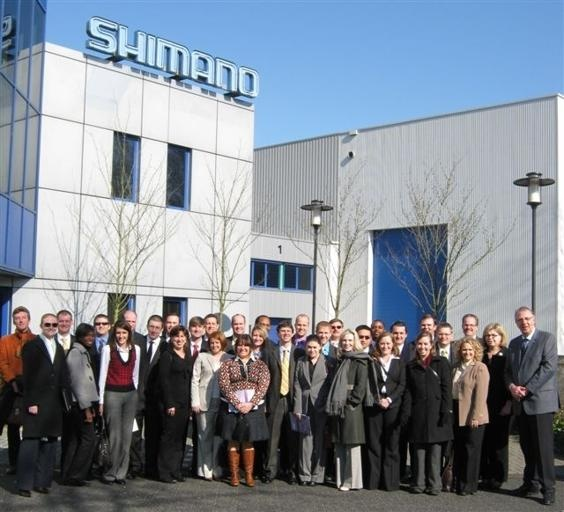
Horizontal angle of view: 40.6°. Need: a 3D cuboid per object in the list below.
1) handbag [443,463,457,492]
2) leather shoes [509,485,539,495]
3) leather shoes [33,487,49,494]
[{"bbox_3d":[2.317,2.945,10.565,0.199,0.586,0.520,1,-6,12],"label":"handbag"},{"bbox_3d":[3.291,3.171,10.333,0.358,0.193,0.159,1,-7,10],"label":"leather shoes"},{"bbox_3d":[-3.112,3.008,9.869,0.197,0.090,0.188,7,-12,-20],"label":"leather shoes"}]
